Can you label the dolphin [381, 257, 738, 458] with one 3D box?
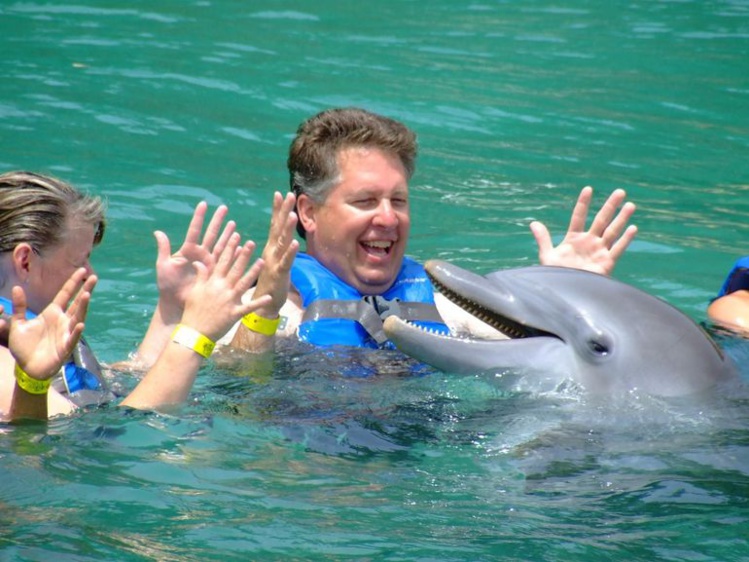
[{"bbox_3d":[0.930,0.253,4.632,1.575,0.584,0.428,10,18,14],"label":"dolphin"}]
